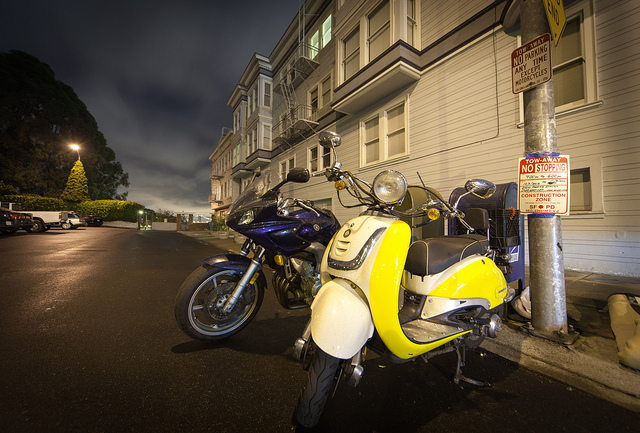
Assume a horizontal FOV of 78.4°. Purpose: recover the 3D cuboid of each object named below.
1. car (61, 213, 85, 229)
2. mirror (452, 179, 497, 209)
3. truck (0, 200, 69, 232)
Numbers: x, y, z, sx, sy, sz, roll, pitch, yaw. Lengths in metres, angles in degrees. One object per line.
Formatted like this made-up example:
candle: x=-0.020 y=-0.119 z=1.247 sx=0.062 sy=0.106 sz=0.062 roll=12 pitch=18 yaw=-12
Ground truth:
car: x=-18.747 y=0.295 z=29.431 sx=1.646 sy=0.831 sz=0.997 roll=10 pitch=11 yaw=27
mirror: x=2.664 y=-0.438 z=6.494 sx=0.399 sy=0.325 sz=0.695 roll=17 pitch=-9 yaw=25
truck: x=-17.963 y=-0.041 z=24.591 sx=4.562 sy=1.831 sz=1.919 roll=6 pitch=-4 yaw=-12
